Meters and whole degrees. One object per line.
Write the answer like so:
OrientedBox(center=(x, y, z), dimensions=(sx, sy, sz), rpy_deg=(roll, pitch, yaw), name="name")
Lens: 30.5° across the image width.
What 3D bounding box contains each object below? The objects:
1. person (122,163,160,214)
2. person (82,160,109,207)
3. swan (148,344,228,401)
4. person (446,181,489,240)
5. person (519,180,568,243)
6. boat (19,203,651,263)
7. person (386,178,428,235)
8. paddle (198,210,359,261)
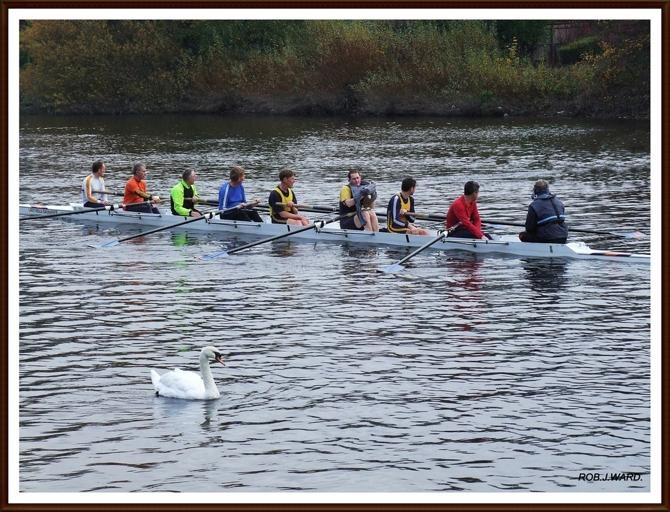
OrientedBox(center=(-5.873, -2.144, 38.197), dimensions=(1.199, 1.569, 1.052), rpy_deg=(-12, 23, -42), name="person")
OrientedBox(center=(-7.613, -2.261, 38.752), dimensions=(0.759, 1.450, 1.273), rpy_deg=(-4, 7, -11), name="person")
OrientedBox(center=(-2.893, 2.286, 24.135), dimensions=(1.510, 1.052, 0.386), rpy_deg=(0, 8, 14), name="swan")
OrientedBox(center=(3.555, -1.217, 33.243), dimensions=(1.372, 1.462, 1.153), rpy_deg=(8, 15, 10), name="person")
OrientedBox(center=(5.569, -1.155, 32.529), dimensions=(1.145, 1.682, 0.688), rpy_deg=(-1, 8, 8), name="person")
OrientedBox(center=(-0.100, -0.604, 35.085), dimensions=(35.643, 1.317, 1.646), rpy_deg=(1, 0, 20), name="boat")
OrientedBox(center=(1.966, -1.475, 34.373), dimensions=(1.231, 1.524, 1.206), rpy_deg=(13, 20, 31), name="person")
OrientedBox(center=(-1.564, -0.552, 35.225), dimensions=(6.080, 0.452, 0.632), rpy_deg=(-10, 51, -36), name="paddle")
